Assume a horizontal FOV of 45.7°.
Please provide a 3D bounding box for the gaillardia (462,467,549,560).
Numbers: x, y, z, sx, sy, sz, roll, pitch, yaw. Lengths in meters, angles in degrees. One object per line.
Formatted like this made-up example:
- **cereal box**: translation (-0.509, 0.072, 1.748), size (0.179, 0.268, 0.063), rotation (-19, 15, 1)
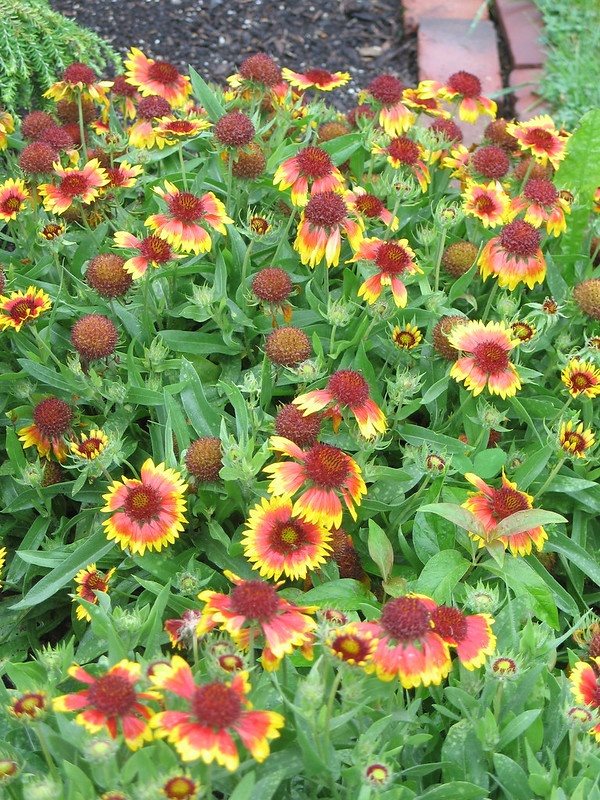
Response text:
- **gaillardia**: translation (0.470, 0.250, 1.619), size (0.194, 0.050, 0.191), rotation (25, 42, 39)

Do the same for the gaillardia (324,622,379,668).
- **gaillardia**: translation (0.074, 0.351, 1.014), size (0.059, 0.048, 0.074), rotation (14, 35, 20)

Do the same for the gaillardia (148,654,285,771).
- **gaillardia**: translation (-0.107, 0.415, 0.930), size (0.168, 0.062, 0.159), rotation (-2, 36, -22)

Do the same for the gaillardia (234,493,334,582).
- **gaillardia**: translation (-0.022, 0.278, 1.424), size (0.170, 0.137, 0.171), rotation (6, 33, 8)

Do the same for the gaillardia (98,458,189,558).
- **gaillardia**: translation (-0.330, 0.234, 1.525), size (0.184, 0.157, 0.159), rotation (-10, 35, -16)
